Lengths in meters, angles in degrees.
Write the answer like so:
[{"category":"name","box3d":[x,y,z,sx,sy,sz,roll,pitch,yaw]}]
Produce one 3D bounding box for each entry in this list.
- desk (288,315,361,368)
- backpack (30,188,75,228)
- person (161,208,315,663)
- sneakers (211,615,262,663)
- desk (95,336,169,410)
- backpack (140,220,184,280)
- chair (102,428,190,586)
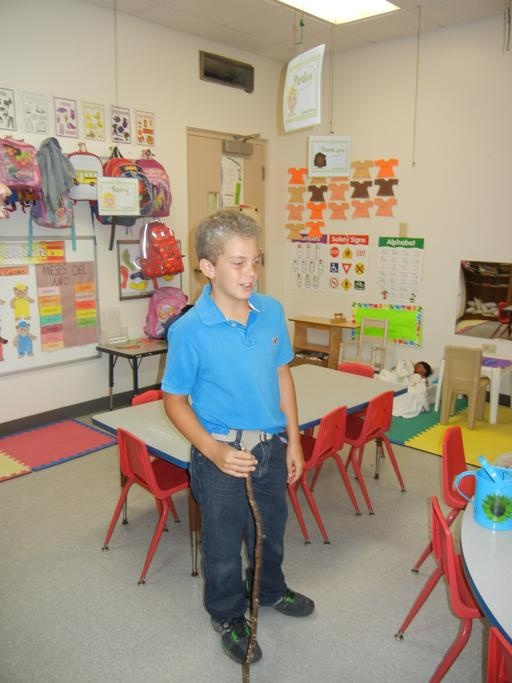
[{"category":"desk","box3d":[0.654,0.036,5.837,0.689,0.605,0.278,10,19,25]},{"category":"backpack","box3d":[-1.487,-0.995,4.032,0.220,0.384,0.295,8,15,43]},{"category":"person","box3d":[-0.060,0.372,1.616,0.371,1.507,0.655,2,10,13]},{"category":"sneakers","box3d":[-0.076,1.015,1.826,0.104,0.127,0.287,8,-11,-20]},{"category":"desk","box3d":[-1.071,0.301,4.624,0.565,0.657,0.679,7,12,37]},{"category":"backpack","box3d":[-0.864,-0.809,4.696,0.261,0.619,0.457,6,16,39]},{"category":"chair","box3d":[-0.434,0.698,2.466,0.549,0.601,0.472,-1,10,-22]}]
